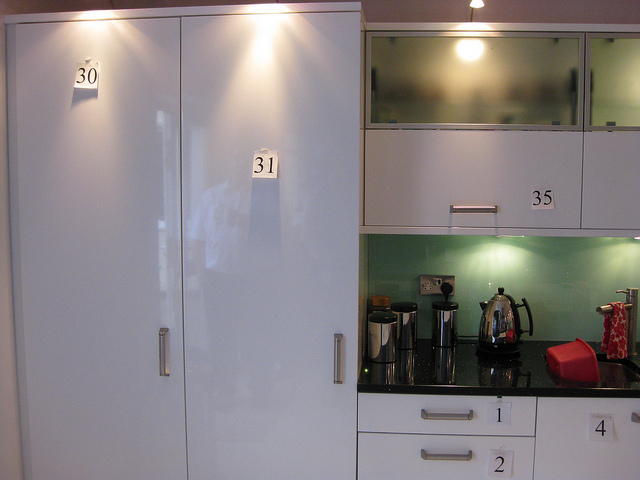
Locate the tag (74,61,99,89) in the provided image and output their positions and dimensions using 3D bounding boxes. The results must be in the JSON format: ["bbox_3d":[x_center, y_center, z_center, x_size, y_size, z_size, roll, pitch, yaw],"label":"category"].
[{"bbox_3d":[-1.059,-0.756,2.909,0.112,0.125,0.012,1,1,7],"label":"tag"}]

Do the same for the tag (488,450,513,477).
[{"bbox_3d":[0.818,1.011,2.890,0.108,0.146,0.045,2,-3,4],"label":"tag"}]

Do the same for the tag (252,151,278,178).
[{"bbox_3d":[-0.242,-0.343,2.866,0.108,0.132,0.017,1,-3,3],"label":"tag"}]

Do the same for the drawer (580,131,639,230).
[{"bbox_3d":[1.385,-0.286,3.053,0.264,0.457,0.049,0,-2,-1],"label":"drawer"}]

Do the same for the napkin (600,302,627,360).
[{"bbox_3d":[1.496,0.460,3.257,0.112,0.276,0.093,5,-6,-20],"label":"napkin"}]

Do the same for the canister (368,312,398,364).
[{"bbox_3d":[0.320,0.486,3.155,0.171,0.247,0.118,1,-2,-15],"label":"canister"}]

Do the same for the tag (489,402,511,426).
[{"bbox_3d":[0.813,0.786,2.879,0.093,0.104,0.011,1,-2,2],"label":"tag"}]

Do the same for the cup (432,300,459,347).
[{"bbox_3d":[0.655,0.418,3.342,0.121,0.215,0.129,-3,17,1],"label":"cup"}]

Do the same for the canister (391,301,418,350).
[{"bbox_3d":[0.443,0.432,3.326,0.126,0.222,0.127,0,13,0],"label":"canister"}]

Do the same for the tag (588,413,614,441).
[{"bbox_3d":[1.267,0.841,2.873,0.111,0.124,0.012,1,-3,2],"label":"tag"}]

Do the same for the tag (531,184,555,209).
[{"bbox_3d":[1.072,-0.213,3.066,0.108,0.121,0.013,0,-1,4],"label":"tag"}]
